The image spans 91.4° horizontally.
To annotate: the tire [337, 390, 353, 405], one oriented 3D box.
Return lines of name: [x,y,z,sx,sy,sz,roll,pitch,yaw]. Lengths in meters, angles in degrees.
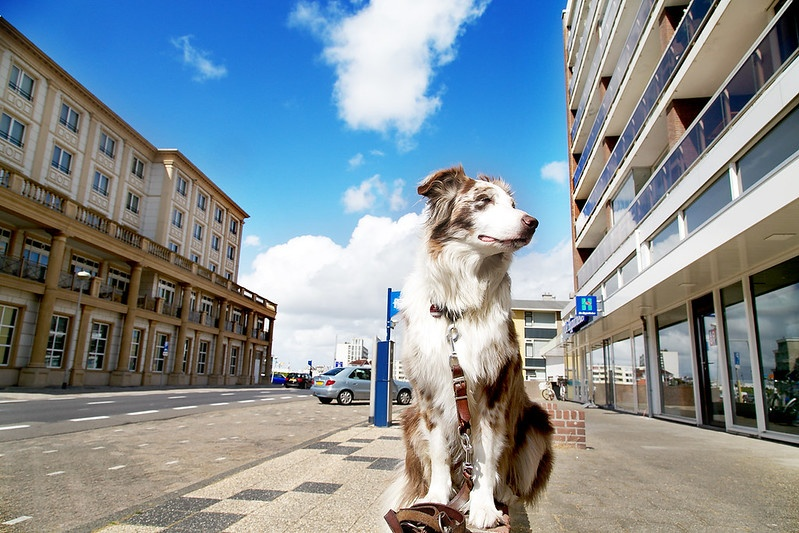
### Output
tire: [-2.868,6.911,20.697,0.918,0.869,0.354,-2,-2,-32]

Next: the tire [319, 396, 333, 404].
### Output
tire: [-3.938,7.251,21.124,0.537,0.347,0.598,-6,-22,19]

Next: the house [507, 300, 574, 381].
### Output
house: [22.952,10.475,56.547,8.144,11.773,10.439,6,-11,-19]

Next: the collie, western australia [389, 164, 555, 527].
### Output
collie, western australia: [0.665,0.690,4.014,1.477,3.332,1.158,-2,-19,3]
